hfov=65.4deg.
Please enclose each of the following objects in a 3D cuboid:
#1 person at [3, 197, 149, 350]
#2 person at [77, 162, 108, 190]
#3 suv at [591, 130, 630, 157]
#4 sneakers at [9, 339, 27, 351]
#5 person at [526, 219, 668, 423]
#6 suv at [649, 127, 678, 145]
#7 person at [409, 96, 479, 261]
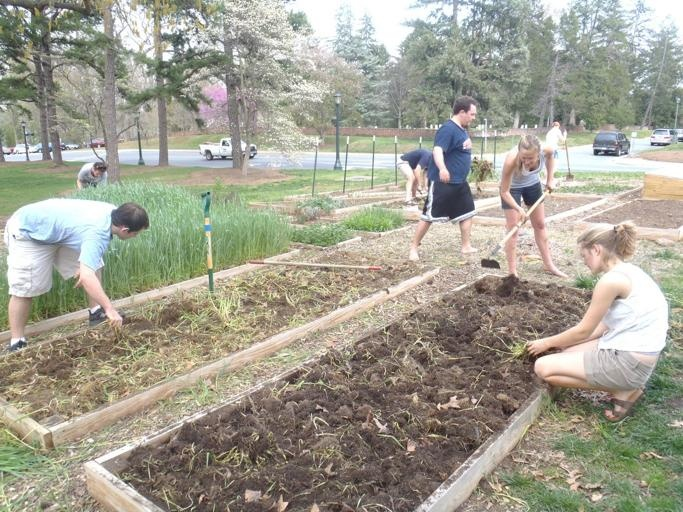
[{"bbox_3d":[-2.487,0.147,4.845,1.320,1.282,0.753,1,14,8],"label":"person"},{"bbox_3d":[-4.446,-1.445,9.475,0.457,0.467,1.350,-7,15,-25],"label":"person"},{"bbox_3d":[15.500,-6.494,30.636,1.810,1.279,1.969,5,15,24],"label":"suv"},{"bbox_3d":[-2.887,0.781,4.805,0.078,0.082,0.183,7,8,16],"label":"sneakers"},{"bbox_3d":[1.991,0.474,4.079,0.878,1.453,0.446,4,14,20],"label":"person"},{"bbox_3d":[24.825,-9.255,41.045,1.469,1.087,3.168,6,21,36],"label":"suv"},{"bbox_3d":[1.399,-1.031,7.114,0.871,2.105,0.454,0,13,5],"label":"person"}]
